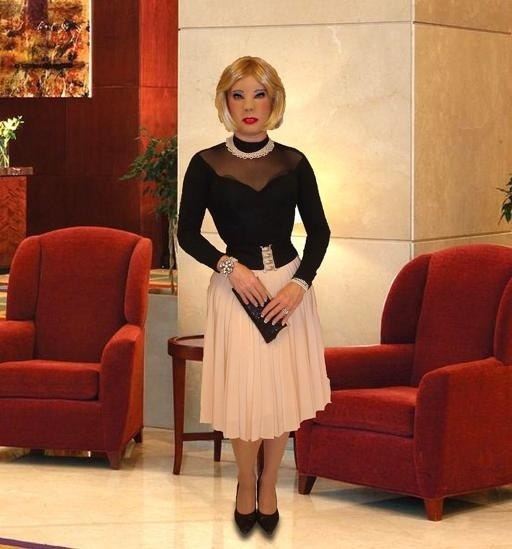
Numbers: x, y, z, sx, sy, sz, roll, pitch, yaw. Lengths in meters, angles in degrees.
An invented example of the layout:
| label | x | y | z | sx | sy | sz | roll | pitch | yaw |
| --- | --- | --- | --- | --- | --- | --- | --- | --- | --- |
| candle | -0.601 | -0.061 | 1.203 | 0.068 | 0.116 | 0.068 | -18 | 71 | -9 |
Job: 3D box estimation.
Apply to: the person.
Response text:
| label | x | y | z | sx | sy | sz | roll | pitch | yaw |
| --- | --- | --- | --- | --- | --- | --- | --- | --- | --- |
| person | 0.016 | 0.078 | 1.651 | 0.397 | 1.284 | 0.295 | -2 | 6 | -20 |

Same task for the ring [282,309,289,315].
| label | x | y | z | sx | sy | sz | roll | pitch | yaw |
| --- | --- | --- | --- | --- | --- | --- | --- | --- | --- |
| ring | 0.076 | 0.098 | 1.542 | 0.011 | 0.016 | 0.005 | 1 | -5 | -2 |

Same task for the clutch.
| label | x | y | z | sx | sy | sz | roll | pitch | yaw |
| --- | --- | --- | --- | --- | --- | --- | --- | --- | --- |
| clutch | 0.007 | 0.112 | 1.561 | 0.141 | 0.138 | 0.066 | 1 | -4 | 1 |
